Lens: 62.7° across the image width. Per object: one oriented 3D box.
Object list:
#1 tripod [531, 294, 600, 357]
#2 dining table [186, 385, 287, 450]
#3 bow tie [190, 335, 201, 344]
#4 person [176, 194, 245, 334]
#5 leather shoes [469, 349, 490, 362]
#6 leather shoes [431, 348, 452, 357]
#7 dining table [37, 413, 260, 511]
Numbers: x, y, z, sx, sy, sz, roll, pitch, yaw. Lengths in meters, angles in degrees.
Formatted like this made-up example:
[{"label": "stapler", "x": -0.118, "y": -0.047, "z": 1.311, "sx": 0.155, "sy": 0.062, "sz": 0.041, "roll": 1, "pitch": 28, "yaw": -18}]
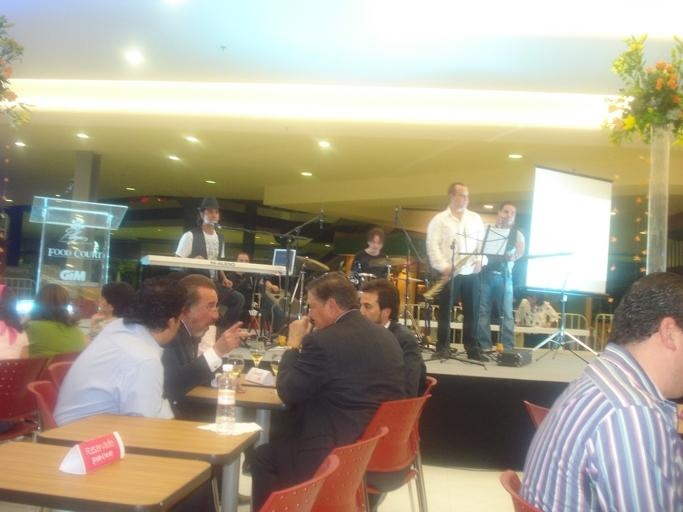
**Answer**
[{"label": "tripod", "x": 3.174, "y": 1.000, "z": 7.964, "sx": 0.932, "sy": 0.878, "sz": 0.973, "roll": 2, "pitch": -1, "yaw": -24}, {"label": "dining table", "x": -0.573, "y": 0.836, "z": 3.238, "sx": 0.472, "sy": 0.464, "sz": 0.479, "roll": 1, "pitch": -6, "yaw": 6}, {"label": "bow tie", "x": -0.952, "y": 0.541, "z": 3.654, "sx": 0.020, "sy": 0.070, "sz": 0.077, "roll": 10, "pitch": 2, "yaw": 36}, {"label": "person", "x": -1.478, "y": 0.185, "z": 6.428, "sx": 0.735, "sy": 1.680, "sz": 0.908, "roll": -1, "pitch": 8, "yaw": -42}, {"label": "leather shoes", "x": 1.310, "y": 0.953, "z": 5.401, "sx": 0.210, "sy": 0.076, "sz": 0.210, "roll": 3, "pitch": -3, "yaw": 17}, {"label": "leather shoes", "x": 0.970, "y": 0.957, "z": 5.490, "sx": 0.151, "sy": 0.068, "sz": 0.089, "roll": -23, "pitch": -7, "yaw": 12}, {"label": "dining table", "x": -0.750, "y": 0.811, "z": 2.454, "sx": 0.655, "sy": 0.412, "sz": 0.591, "roll": 2, "pitch": 0, "yaw": 14}]
